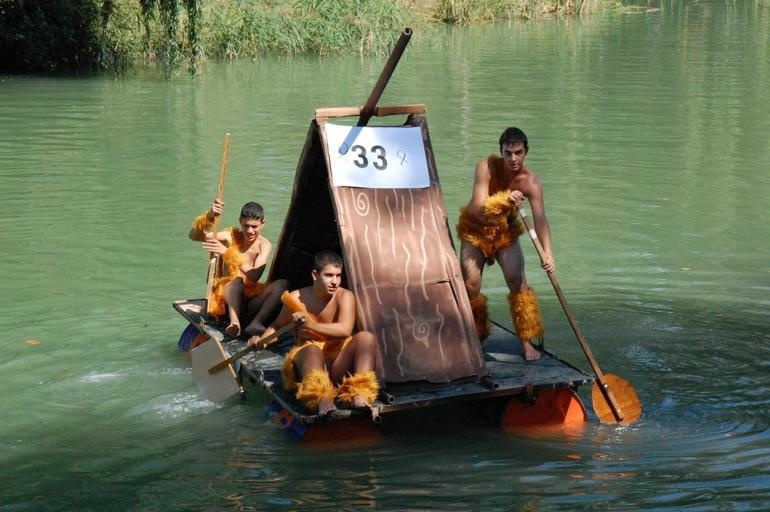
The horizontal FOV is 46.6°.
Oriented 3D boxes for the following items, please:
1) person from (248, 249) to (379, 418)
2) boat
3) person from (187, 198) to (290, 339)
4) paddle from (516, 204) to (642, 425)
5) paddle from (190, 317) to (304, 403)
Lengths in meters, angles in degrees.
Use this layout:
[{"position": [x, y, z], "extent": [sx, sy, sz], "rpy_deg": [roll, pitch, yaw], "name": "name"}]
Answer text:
[{"position": [-0.595, 0.641, 7.874], "extent": [1.091, 1.302, 0.878], "rpy_deg": [0, 10, 10], "name": "person"}, {"position": [-0.010, -0.069, 9.613], "extent": [3.517, 3.271, 4.548], "rpy_deg": [-3, 9, -30], "name": "boat"}, {"position": [-1.504, 0.107, 9.174], "extent": [1.115, 1.248, 1.064], "rpy_deg": [7, 6, -30], "name": "person"}, {"position": [1.645, 0.788, 7.459], "extent": [0.494, 2.725, 0.106], "rpy_deg": [-38, 49, -3], "name": "paddle"}, {"position": [-1.559, 1.038, 8.364], "extent": [1.274, 0.528, 0.651], "rpy_deg": [-22, 17, -14], "name": "paddle"}]
